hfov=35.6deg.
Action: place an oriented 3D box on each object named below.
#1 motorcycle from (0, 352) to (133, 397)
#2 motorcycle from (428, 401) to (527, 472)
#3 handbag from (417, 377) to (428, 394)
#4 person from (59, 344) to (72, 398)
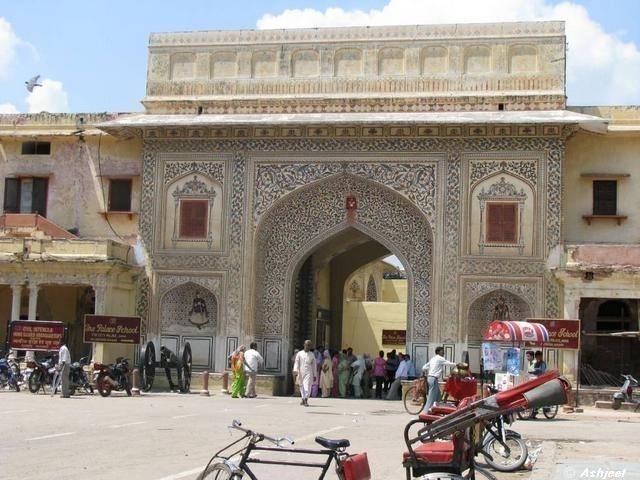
[{"bbox_3d":[-6.060,3.345,24.557,2.160,1.055,1.099,-2,-6,-10],"label":"motorcycle"},{"bbox_3d":[2.624,3.144,15.692,1.839,1.146,1.154,-1,-3,6],"label":"motorcycle"},{"bbox_3d":[2.333,3.311,22.609,0.310,0.392,0.175,-1,-11,43],"label":"handbag"},{"bbox_3d":[-6.111,3.094,23.716,0.310,1.300,0.820,4,-12,-14],"label":"person"}]
